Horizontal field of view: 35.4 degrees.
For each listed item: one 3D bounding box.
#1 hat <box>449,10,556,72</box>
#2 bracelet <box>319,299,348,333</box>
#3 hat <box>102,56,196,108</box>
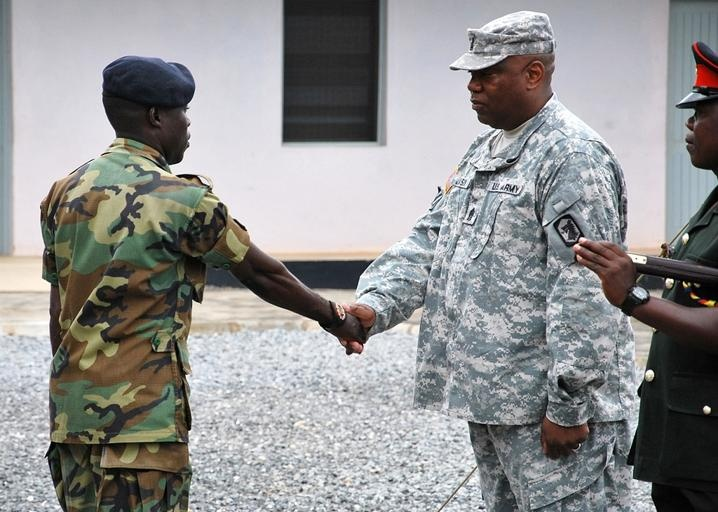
[{"bbox_3d":[0.739,-1.099,5.744,0.480,0.185,0.307,-3,3,-5],"label":"hat"},{"bbox_3d":[-0.113,0.321,6.035,0.151,0.156,0.097,23,30,24],"label":"bracelet"},{"bbox_3d":[-1.016,-0.845,5.455,0.300,0.122,0.342,-8,9,-32],"label":"hat"}]
